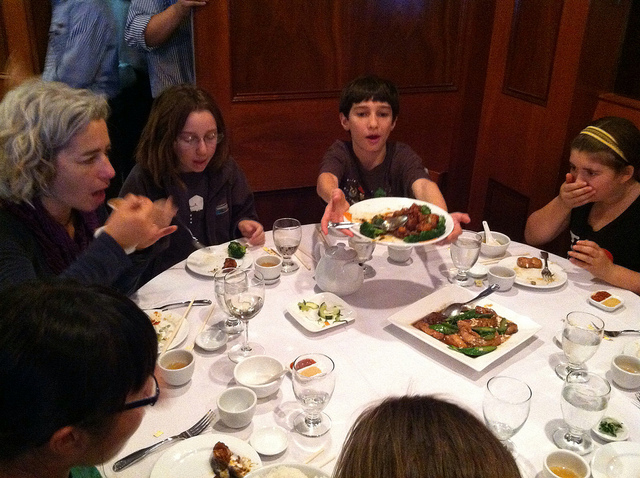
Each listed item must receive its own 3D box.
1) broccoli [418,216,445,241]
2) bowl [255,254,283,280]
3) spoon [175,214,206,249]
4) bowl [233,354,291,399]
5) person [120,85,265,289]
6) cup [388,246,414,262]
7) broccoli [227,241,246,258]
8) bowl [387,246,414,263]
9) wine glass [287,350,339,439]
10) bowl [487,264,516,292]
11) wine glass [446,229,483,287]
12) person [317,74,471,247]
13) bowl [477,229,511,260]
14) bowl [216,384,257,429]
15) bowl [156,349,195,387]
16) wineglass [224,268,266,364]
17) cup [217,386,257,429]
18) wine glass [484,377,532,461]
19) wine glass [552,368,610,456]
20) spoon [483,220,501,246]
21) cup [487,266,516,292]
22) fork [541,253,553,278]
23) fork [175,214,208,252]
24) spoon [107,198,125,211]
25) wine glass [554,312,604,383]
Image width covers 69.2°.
[{"bbox_3d":[0.486,-0.043,2.028,0.086,0.038,0.110,0,47,45],"label":"broccoli"},{"bbox_3d":[-0.253,0.129,2.222,0.102,0.090,0.112,1,15,0],"label":"bowl"},{"bbox_3d":[-0.797,-0.045,2.797,0.013,0.282,0.041,5,47,47],"label":"spoon"},{"bbox_3d":[-0.203,0.475,1.622,0.192,0.099,0.168,2,24,4],"label":"bowl"},{"bbox_3d":[-0.789,-0.179,2.863,0.860,1.409,0.759,-13,30,-33],"label":"person"},{"bbox_3d":[0.398,0.058,2.349,0.095,0.072,0.100,-1,14,0],"label":"cup"},{"bbox_3d":[-0.429,0.056,2.366,0.063,0.048,0.078,5,15,-5],"label":"broccoli"},{"bbox_3d":[0.411,0.061,2.366,0.099,0.085,0.103,1,22,0],"label":"bowl"},{"bbox_3d":[-0.023,0.504,1.516,0.126,0.136,0.212,-17,56,30],"label":"wine glass"},{"bbox_3d":[0.859,0.176,2.201,0.108,0.093,0.119,-4,20,-5],"label":"bowl"},{"bbox_3d":[0.694,0.095,2.234,0.138,0.237,0.143,-8,16,-27],"label":"wine glass"},{"bbox_3d":[0.356,-0.329,2.932,0.693,1.235,1.219,-5,27,-3],"label":"person"},{"bbox_3d":[0.935,0.017,2.505,0.161,0.104,0.172,0,17,0],"label":"bowl"},{"bbox_3d":[-0.274,0.549,1.523,0.117,0.089,0.132,18,26,11],"label":"bowl"},{"bbox_3d":[-0.530,0.463,1.675,0.133,0.066,0.092,14,46,26],"label":"bowl"},{"bbox_3d":[-0.312,0.308,1.863,0.154,0.323,0.149,-10,15,-36],"label":"wineglass"},{"bbox_3d":[-0.279,0.560,1.518,0.123,0.092,0.137,2,14,-9],"label":"cup"},{"bbox_3d":[0.577,0.565,1.454,0.139,0.228,0.130,-16,26,-38],"label":"wine glass"},{"bbox_3d":[0.828,0.537,1.472,0.132,0.230,0.130,12,-7,23],"label":"wine glass"},{"bbox_3d":[0.917,-0.017,2.487,0.079,0.140,0.019,-16,-4,-29],"label":"spoon"},{"bbox_3d":[0.862,0.178,2.199,0.107,0.092,0.119,-3,18,-1],"label":"cup"},{"bbox_3d":[1.117,0.127,2.288,0.032,0.026,0.217,5,34,19],"label":"fork"},{"bbox_3d":[-0.790,-0.039,2.789,0.034,0.249,0.014,-28,6,-3],"label":"fork"},{"bbox_3d":[-0.921,-0.147,2.077,0.066,0.024,0.077,2,39,-9],"label":"spoon"},{"bbox_3d":[0.965,0.410,1.719,0.127,0.229,0.150,6,29,4],"label":"wine glass"}]
